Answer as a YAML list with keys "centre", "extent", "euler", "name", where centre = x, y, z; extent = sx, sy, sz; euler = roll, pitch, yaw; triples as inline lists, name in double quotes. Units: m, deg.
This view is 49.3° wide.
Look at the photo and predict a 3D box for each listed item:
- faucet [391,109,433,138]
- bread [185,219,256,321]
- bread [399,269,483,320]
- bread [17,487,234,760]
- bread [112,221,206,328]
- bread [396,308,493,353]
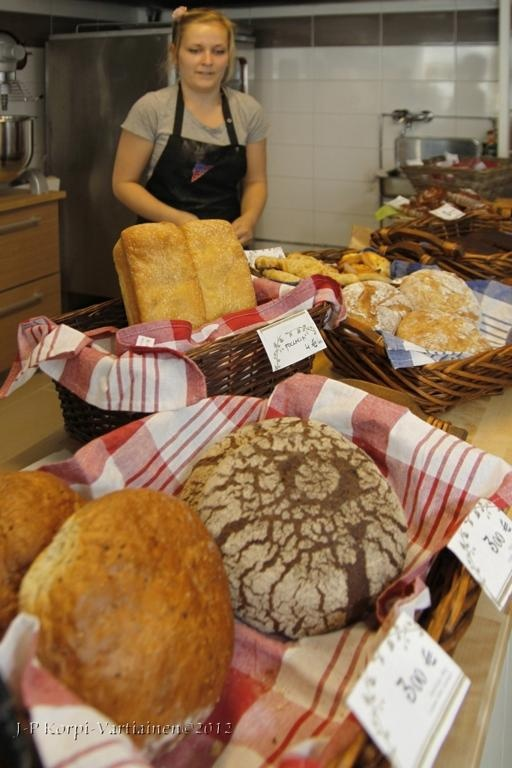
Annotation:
- centre: [0.940, -1.557, 3.284]
  extent: [0.312, 0.186, 0.084]
  euler: [12, 20, 20]
  name: "faucet"
- centre: [-0.068, -0.167, 0.895]
  extent: [0.095, 0.169, 0.051]
  euler: [-22, 11, -32]
  name: "bread"
- centre: [0.328, -0.160, 1.016]
  extent: [0.122, 0.036, 0.095]
  euler: [24, 45, 6]
  name: "bread"
- centre: [-0.063, 0.129, 0.313]
  extent: [0.116, 0.111, 0.093]
  euler: [-15, 23, -35]
  name: "bread"
- centre: [-0.139, -0.139, 0.825]
  extent: [0.098, 0.177, 0.053]
  euler: [-15, 4, -25]
  name: "bread"
- centre: [0.304, -0.085, 0.903]
  extent: [0.115, 0.034, 0.092]
  euler: [13, 33, 3]
  name: "bread"
